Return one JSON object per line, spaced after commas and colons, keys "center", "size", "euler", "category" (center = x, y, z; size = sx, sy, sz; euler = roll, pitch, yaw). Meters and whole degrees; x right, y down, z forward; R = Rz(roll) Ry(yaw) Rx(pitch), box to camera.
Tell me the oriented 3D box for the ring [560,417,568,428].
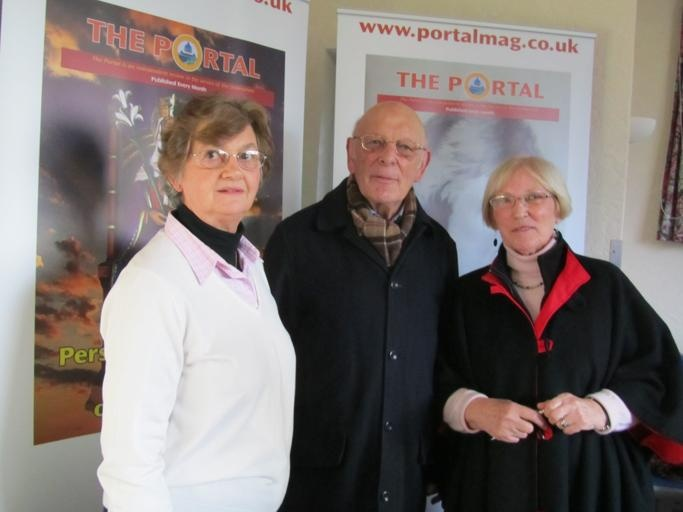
{"center": [0.897, 0.671, 2.526], "size": [0.032, 0.025, 0.033], "euler": [8, -25, 4], "category": "ring"}
